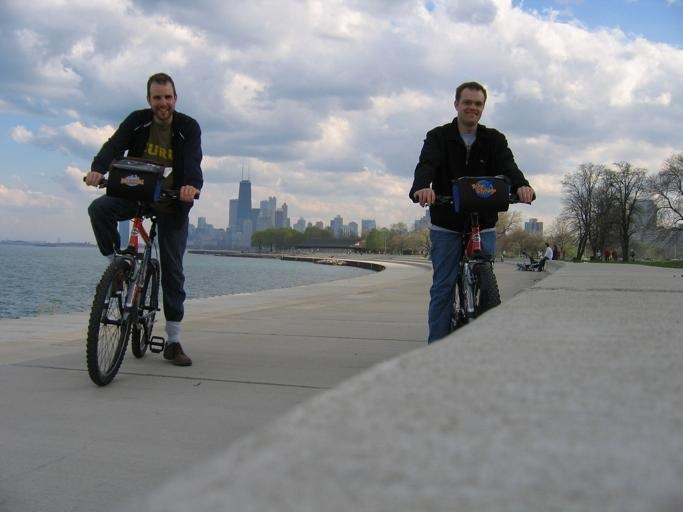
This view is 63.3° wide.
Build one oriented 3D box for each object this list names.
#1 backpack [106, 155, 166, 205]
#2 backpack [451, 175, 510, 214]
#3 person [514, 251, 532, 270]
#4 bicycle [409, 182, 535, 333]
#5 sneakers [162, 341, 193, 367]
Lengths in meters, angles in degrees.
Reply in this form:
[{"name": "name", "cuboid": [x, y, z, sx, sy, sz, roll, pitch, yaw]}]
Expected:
[{"name": "backpack", "cuboid": [-1.364, -0.494, 3.755, 0.374, 0.301, 0.287, 10, -12, 4]}, {"name": "backpack", "cuboid": [0.986, -0.426, 3.839, 0.391, 0.264, 0.219, 1, 0, 13]}, {"name": "person", "cuboid": [19.938, 0.330, 59.940, 1.134, 1.462, 2.393, -2, -5, 7]}, {"name": "bicycle", "cuboid": [0.985, 0.013, 3.922, 0.542, 1.123, 0.740, 1, 0, -32]}, {"name": "sneakers", "cuboid": [-1.181, 0.713, 3.958, 0.107, 0.133, 0.314, 1, -3, -36]}]
